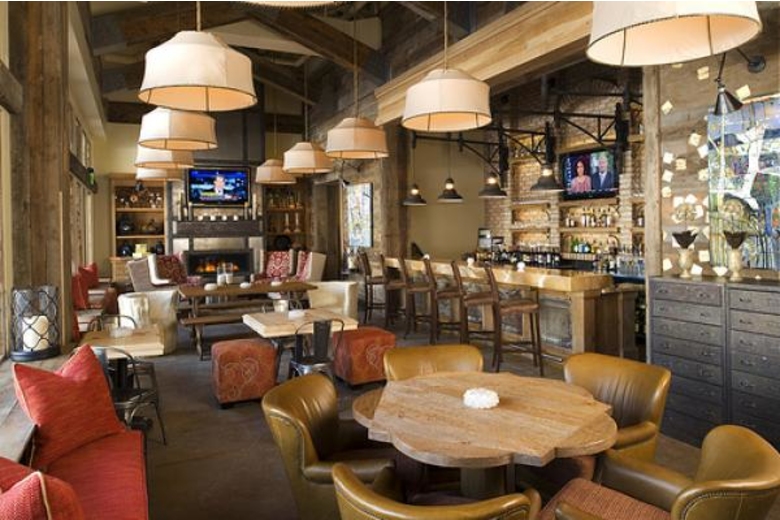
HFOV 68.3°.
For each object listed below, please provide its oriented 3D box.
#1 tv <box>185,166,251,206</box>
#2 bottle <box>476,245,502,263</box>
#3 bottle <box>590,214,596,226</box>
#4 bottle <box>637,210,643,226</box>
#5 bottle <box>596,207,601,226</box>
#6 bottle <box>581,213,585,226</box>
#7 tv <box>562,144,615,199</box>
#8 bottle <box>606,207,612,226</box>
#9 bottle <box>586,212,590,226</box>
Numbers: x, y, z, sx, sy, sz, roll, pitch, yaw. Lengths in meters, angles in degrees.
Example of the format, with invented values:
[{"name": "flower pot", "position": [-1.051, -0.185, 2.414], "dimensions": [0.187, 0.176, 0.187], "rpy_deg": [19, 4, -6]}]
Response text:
[{"name": "tv", "position": [-4.306, -1.785, 14.132], "dimensions": [1.489, 0.909, 0.114], "rpy_deg": [0, -3, -20]}, {"name": "bottle", "position": [1.970, -0.101, 11.375], "dimensions": [0.466, 0.163, 0.443], "rpy_deg": [0, -2, 0]}, {"name": "bottle", "position": [3.615, -0.721, 10.235], "dimensions": [0.130, 0.220, 0.153], "rpy_deg": [-1, 3, 0]}, {"name": "bottle", "position": [4.119, -0.662, 9.502], "dimensions": [0.086, 0.217, 0.190], "rpy_deg": [-1, 3, 1]}, {"name": "bottle", "position": [3.711, -0.759, 10.207], "dimensions": [0.066, 0.276, 0.215], "rpy_deg": [0, 3, 19]}, {"name": "bottle", "position": [3.480, -0.731, 10.401], "dimensions": [0.052, 0.221, 0.144], "rpy_deg": [-2, 3, -7]}, {"name": "tv", "position": [3.654, -1.562, 10.402], "dimensions": [0.148, 0.942, 1.412], "rpy_deg": [-6, 6, -23]}, {"name": "bottle", "position": [3.815, -0.755, 10.053], "dimensions": [0.111, 0.283, 0.168], "rpy_deg": [0, 3, 22]}, {"name": "bottle", "position": [3.550, -0.733, 10.306], "dimensions": [0.045, 0.206, 0.098], "rpy_deg": [-3, 3, -21]}]
